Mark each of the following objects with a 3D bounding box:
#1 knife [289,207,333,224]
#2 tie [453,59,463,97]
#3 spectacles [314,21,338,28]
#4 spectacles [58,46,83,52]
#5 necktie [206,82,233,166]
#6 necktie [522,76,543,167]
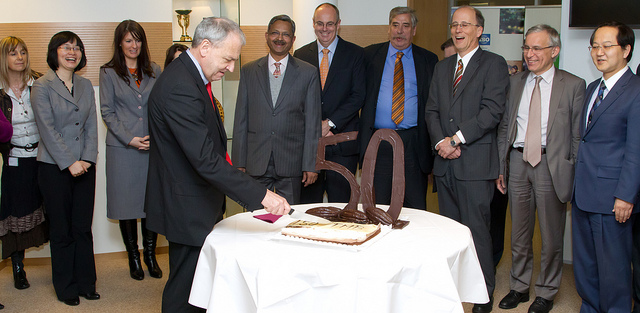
[{"bbox_3d":[-0.085,0.568,4.171,0.476,0.075,0.039,15,-14,-4],"label":"knife"},{"bbox_3d":[1.653,-0.921,5.077,0.068,0.471,0.058,9,-16,22],"label":"tie"},{"bbox_3d":[0.063,-1.643,5.447,0.266,0.055,0.058,1,16,3],"label":"spectacles"},{"bbox_3d":[-3.041,-1.284,5.199,0.218,0.066,0.035,-8,18,-28],"label":"spectacles"},{"bbox_3d":[-1.050,-0.325,4.218,0.230,0.761,0.240,-2,-10,18],"label":"necktie"},{"bbox_3d":[2.498,-0.377,4.941,0.092,1.073,0.236,-13,18,-26],"label":"necktie"}]
